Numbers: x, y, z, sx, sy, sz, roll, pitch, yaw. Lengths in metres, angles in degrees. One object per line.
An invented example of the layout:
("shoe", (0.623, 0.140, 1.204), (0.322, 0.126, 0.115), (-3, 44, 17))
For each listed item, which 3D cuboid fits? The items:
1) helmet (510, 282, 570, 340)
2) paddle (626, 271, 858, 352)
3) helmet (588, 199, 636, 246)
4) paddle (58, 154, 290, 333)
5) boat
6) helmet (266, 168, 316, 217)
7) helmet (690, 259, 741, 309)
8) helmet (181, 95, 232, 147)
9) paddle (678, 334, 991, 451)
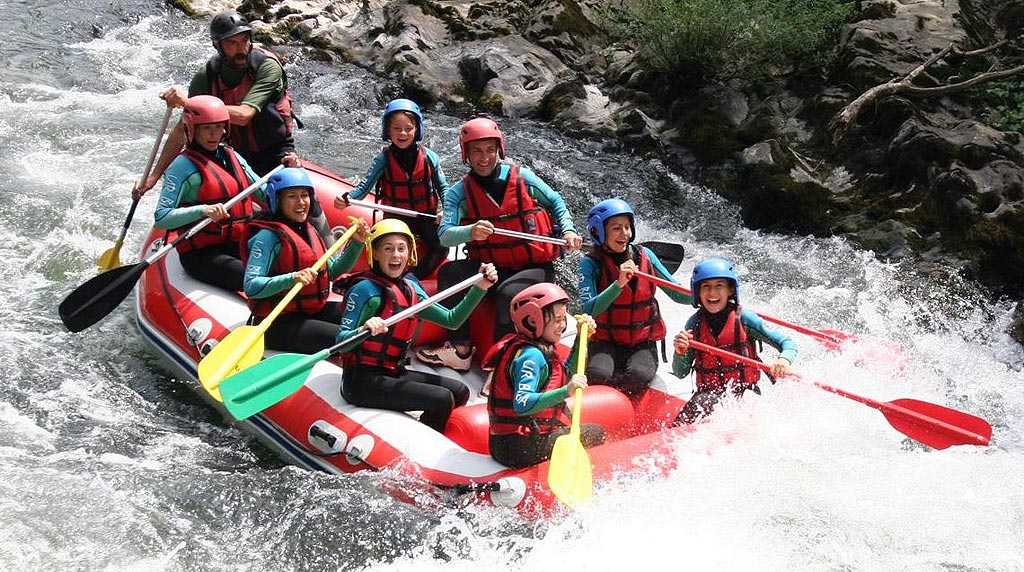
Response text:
("helmet", (0.236, 0.238, 8.429), (0.554, 0.467, 0.406), (1, 6, 18))
("paddle", (2.606, 0.317, 9.859), (1.976, 0.348, 0.211), (20, 82, 6))
("helmet", (0.997, -0.675, 9.260), (0.448, 0.551, 0.402), (-8, 90, -50))
("paddle", (-3.790, -0.412, 9.925), (3.886, 0.153, 0.520), (-35, 85, -4))
("boat", (-1.707, 1.040, 8.940), (5.129, 0.832, 2.924), (33, 54, 19))
("helmet", (-2.275, -0.983, 9.114), (0.429, 0.416, 0.548), (-2, 24, -23))
("helmet", (2.100, -0.069, 8.962), (0.539, 0.442, 0.394), (-8, 93, -54))
("helmet", (-3.423, -1.849, 9.807), (0.523, 0.464, 0.605), (-11, 18, -29))
("paddle", (3.256, 1.136, 9.072), (3.000, 0.378, 0.237), (19, 25, 7))
